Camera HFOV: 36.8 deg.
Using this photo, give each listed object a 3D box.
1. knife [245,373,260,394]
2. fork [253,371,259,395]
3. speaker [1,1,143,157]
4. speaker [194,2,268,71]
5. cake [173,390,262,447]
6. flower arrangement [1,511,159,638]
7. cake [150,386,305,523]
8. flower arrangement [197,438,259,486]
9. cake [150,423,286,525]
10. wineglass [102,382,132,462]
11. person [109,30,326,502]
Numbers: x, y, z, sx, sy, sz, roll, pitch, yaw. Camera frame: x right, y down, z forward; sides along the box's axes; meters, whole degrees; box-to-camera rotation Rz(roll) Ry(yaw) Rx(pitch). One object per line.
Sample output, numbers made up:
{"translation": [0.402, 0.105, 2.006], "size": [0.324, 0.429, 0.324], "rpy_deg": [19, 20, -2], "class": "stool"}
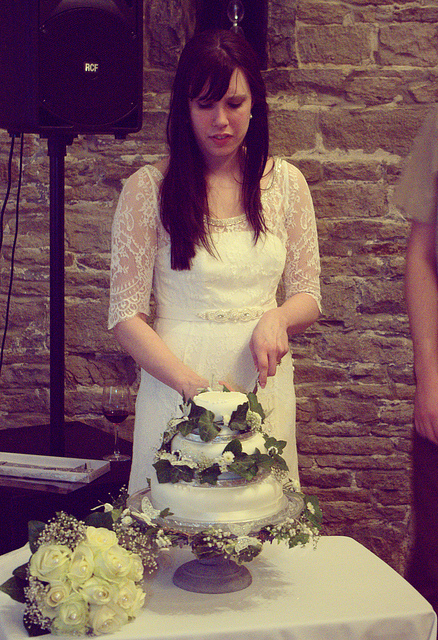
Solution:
{"translation": [0.088, 0.159, 1.690], "size": [0.014, 0.050, 0.054], "rpy_deg": [32, -17, 3], "class": "knife"}
{"translation": [0.095, 0.163, 1.682], "size": [0.015, 0.054, 0.009], "rpy_deg": [2, -17, 14], "class": "fork"}
{"translation": [-0.460, -0.770, 1.985], "size": [0.444, 0.424, 0.199], "rpy_deg": [3, 0, 1], "class": "speaker"}
{"translation": [0.051, -1.169, 2.673], "size": [0.310, 0.266, 0.105], "rpy_deg": [3, 0, -4], "class": "speaker"}
{"translation": [-0.004, 0.168, 1.147], "size": [0.151, 0.053, 0.146], "rpy_deg": [-8, 0, 24], "class": "cake"}
{"translation": [-0.212, 0.381, 1.025], "size": [0.225, 0.163, 0.236], "rpy_deg": [3, 0, 20], "class": "flower arrangement"}
{"translation": [0.019, 0.224, 1.146], "size": [0.269, 0.207, 0.241], "rpy_deg": [3, 0, 1], "class": "cake"}
{"translation": [0.012, 0.227, 1.048], "size": [0.082, 0.072, 0.031], "rpy_deg": [-20, -6, -10], "class": "flower arrangement"}
{"translation": [-0.006, 0.246, 1.118], "size": [0.164, 0.083, 0.157], "rpy_deg": [-1, 0, -4], "class": "cake"}
{"translation": [-0.339, 0.323, 2.154], "size": [0.102, 0.240, 0.208], "rpy_deg": [3, 0, -18], "class": "wineglass"}
{"translation": [0.038, -0.135, 1.675], "size": [0.544, 1.133, 0.405], "rpy_deg": [3, 0, -44], "class": "person"}
